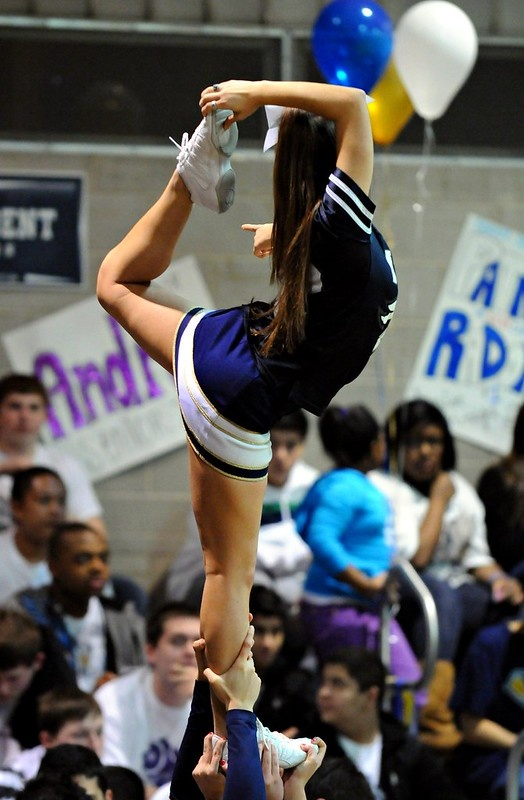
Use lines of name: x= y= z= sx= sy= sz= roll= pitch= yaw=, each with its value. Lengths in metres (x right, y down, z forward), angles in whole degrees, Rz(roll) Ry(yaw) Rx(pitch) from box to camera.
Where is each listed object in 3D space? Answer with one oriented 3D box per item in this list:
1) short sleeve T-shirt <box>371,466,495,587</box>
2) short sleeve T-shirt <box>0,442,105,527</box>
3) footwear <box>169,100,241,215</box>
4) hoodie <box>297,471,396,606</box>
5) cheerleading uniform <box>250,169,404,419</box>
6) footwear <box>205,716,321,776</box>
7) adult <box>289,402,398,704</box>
short sleeve T-shirt: x=0.617 y=0.491 z=4.514 sx=0.521 sy=0.432 sz=0.281 roll=-1 pitch=18 yaw=-36
short sleeve T-shirt: x=-0.647 y=0.275 z=3.912 sx=0.290 sy=0.105 sz=0.277 roll=3 pitch=-18 yaw=-36
footwear: x=-0.128 y=-0.513 z=2.538 sx=0.118 sy=0.243 sz=0.083 roll=-2 pitch=36 yaw=4
hoodie: x=0.314 y=0.496 z=4.430 sx=0.348 sy=0.459 sz=0.517 roll=4 pitch=0 yaw=7
cheerleading uniform: x=0.196 y=-0.232 z=2.438 sx=0.204 sy=0.426 sz=0.210 roll=-6 pitch=17 yaw=-37
footwear: x=0.000 y=0.740 z=2.567 sx=0.275 sy=0.110 sz=0.085 roll=3 pitch=-2 yaw=-38
adult: x=0.393 y=0.724 z=4.497 sx=0.534 sy=1.356 sz=0.488 roll=0 pitch=16 yaw=8
